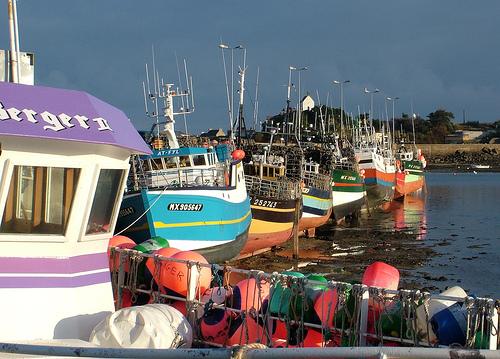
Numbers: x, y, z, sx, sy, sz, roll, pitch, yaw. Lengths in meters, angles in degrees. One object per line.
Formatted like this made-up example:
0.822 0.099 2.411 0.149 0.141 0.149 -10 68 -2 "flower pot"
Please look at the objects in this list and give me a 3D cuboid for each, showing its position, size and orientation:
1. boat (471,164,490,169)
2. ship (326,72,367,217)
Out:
32.228 -1.811 100.716 2.610 0.567 0.620 1 0 -7 "boat"
5.054 -0.815 37.209 1.650 8.631 1.249 2 5 12 "ship"
